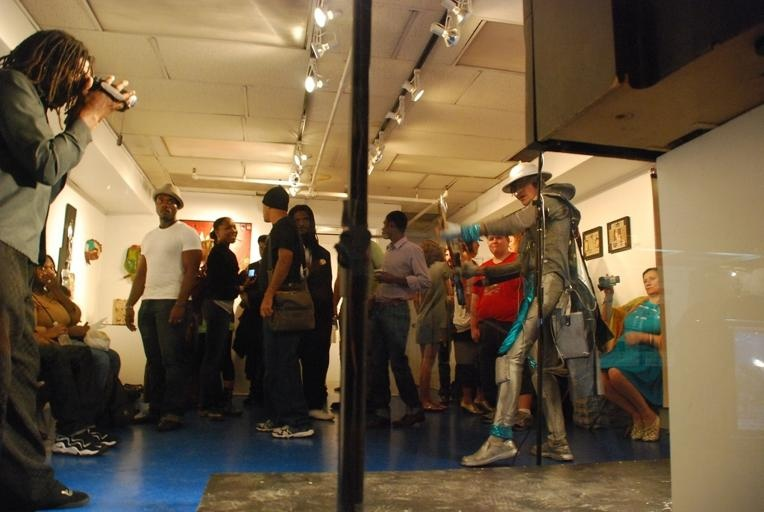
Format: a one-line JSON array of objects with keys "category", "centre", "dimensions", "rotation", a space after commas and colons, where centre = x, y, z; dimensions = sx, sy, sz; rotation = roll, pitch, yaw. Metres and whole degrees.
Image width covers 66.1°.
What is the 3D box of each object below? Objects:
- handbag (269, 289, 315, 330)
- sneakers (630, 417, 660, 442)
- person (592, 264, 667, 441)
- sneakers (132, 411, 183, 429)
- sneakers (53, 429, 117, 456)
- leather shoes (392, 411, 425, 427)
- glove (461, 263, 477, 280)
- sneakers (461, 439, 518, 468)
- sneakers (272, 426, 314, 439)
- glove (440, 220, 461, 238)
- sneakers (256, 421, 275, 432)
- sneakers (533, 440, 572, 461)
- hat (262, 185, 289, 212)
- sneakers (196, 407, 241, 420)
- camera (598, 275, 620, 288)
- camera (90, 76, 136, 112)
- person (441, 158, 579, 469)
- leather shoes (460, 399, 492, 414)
[{"category": "handbag", "centre": [-0.481, 0.284, 3.043], "dimensions": [0.189, 0.195, 0.103], "rotation": [5, -18, -22]}, {"category": "sneakers", "centre": [0.931, 0.614, 2.078], "dimensions": [0.045, 0.061, 0.112], "rotation": [6, 10, 4]}, {"category": "person", "centre": [0.824, 0.325, 1.950], "dimensions": [0.176, 0.579, 0.764], "rotation": [-6, -16, 18]}, {"category": "sneakers", "centre": [-1.221, 0.892, 3.177], "dimensions": [0.234, 0.096, 0.077], "rotation": [9, -12, -3]}, {"category": "sneakers", "centre": [-1.336, 0.832, 2.606], "dimensions": [0.148, 0.049, 0.108], "rotation": [6, -5, -6]}, {"category": "leather shoes", "centre": [0.135, 0.768, 2.789], "dimensions": [0.175, 0.068, 0.062], "rotation": [-4, -11, -7]}, {"category": "glove", "centre": [0.303, 0.050, 2.036], "dimensions": [0.054, 0.054, 0.056], "rotation": [8, 16, 4]}, {"category": "sneakers", "centre": [0.455, 0.811, 2.465], "dimensions": [0.265, 0.108, 0.098], "rotation": [-8, -7, -13]}, {"category": "sneakers", "centre": [-0.447, 0.893, 2.959], "dimensions": [0.203, 0.071, 0.072], "rotation": [4, -13, 1]}, {"category": "glove", "centre": [0.214, -0.084, 1.836], "dimensions": [0.049, 0.054, 0.055], "rotation": [5, -2, 3]}, {"category": "sneakers", "centre": [-0.633, 0.923, 3.179], "dimensions": [0.065, 0.047, 0.112], "rotation": [2, -15, -4]}, {"category": "sneakers", "centre": [0.713, 0.802, 2.459], "dimensions": [0.064, 0.073, 0.162], "rotation": [2, -3, -26]}, {"category": "hat", "centre": [-0.610, -0.320, 3.365], "dimensions": [0.130, 0.114, 0.135], "rotation": [25, -23, -30]}, {"category": "sneakers", "centre": [-0.972, 0.928, 3.471], "dimensions": [0.237, 0.098, 0.078], "rotation": [-4, -15, 7]}, {"category": "camera", "centre": [0.805, 0.092, 2.081], "dimensions": [0.025, 0.032, 0.059], "rotation": [-10, 6, -35]}, {"category": "camera", "centre": [-0.898, -0.532, 1.966], "dimensions": [0.036, 0.052, 0.138], "rotation": [-24, -17, 20]}, {"category": "person", "centre": [0.565, 0.217, 2.583], "dimensions": [0.642, 1.353, 0.477], "rotation": [2, -15, 16]}, {"category": "leather shoes", "centre": [0.499, 0.804, 3.132], "dimensions": [0.189, 0.074, 0.066], "rotation": [-10, -10, 34]}]
